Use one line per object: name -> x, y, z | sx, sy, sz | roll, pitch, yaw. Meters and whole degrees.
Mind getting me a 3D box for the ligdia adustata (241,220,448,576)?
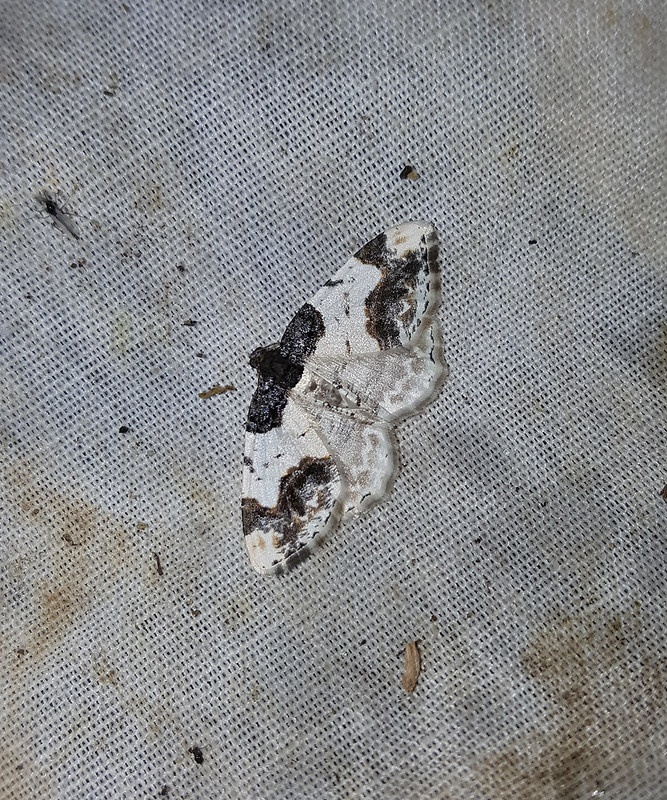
ligdia adustata -> 0.001, -0.007, 1.071 | 0.159, 0.027, 0.371 | 20, 57, 12
